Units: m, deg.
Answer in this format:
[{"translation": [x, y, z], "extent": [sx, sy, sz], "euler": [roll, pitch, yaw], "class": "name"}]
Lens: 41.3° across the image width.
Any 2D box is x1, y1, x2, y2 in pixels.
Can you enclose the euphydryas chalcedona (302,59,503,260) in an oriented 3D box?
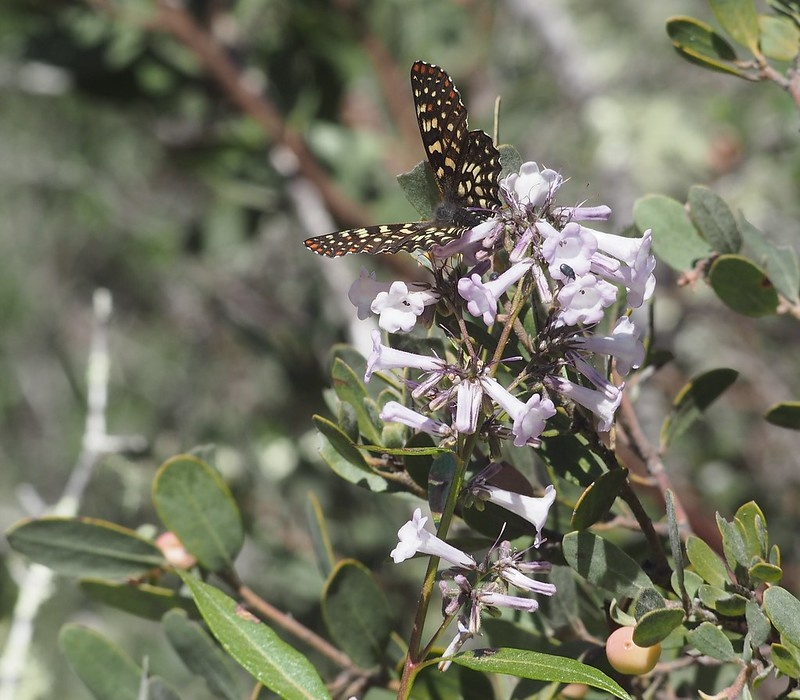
[{"translation": [-0.003, -0.427, 2.494], "extent": [0.400, 0.480, 0.534], "euler": [-2, 14, -1], "class": "euphydryas chalcedona"}]
